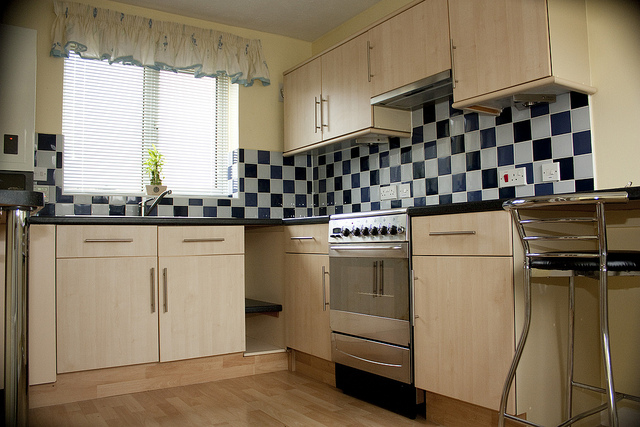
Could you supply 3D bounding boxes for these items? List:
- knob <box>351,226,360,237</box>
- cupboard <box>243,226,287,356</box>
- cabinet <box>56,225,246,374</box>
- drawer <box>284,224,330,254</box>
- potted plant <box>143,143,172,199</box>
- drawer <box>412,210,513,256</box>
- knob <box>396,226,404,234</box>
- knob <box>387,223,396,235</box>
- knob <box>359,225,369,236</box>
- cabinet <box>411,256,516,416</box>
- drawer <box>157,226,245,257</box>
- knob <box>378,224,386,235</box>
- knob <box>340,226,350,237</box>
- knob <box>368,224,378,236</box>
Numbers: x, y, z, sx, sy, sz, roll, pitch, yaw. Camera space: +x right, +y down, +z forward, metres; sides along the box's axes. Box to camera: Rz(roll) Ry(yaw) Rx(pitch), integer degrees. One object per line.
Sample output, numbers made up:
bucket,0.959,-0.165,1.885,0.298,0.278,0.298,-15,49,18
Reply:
knob,0.244,0.129,3.614,0.021,0.075,0.073,-3,2,-41
cupboard,-0.477,0.641,4.513,0.403,0.992,0.451,0,1,-20
cabinet,-1.417,0.662,4.117,1.403,0.995,0.761,3,-8,-36
drawer,-0.111,0.201,4.056,0.225,0.173,0.353,3,-4,-34
potted plant,-1.457,-0.386,4.598,0.257,0.517,0.362,-2,2,-15
drawer,0.843,0.125,3.086,0.398,0.176,0.290,-6,-9,43
knob,0.511,0.107,3.343,0.041,0.041,0.014,13,10,12
knob,0.462,0.106,3.387,0.026,0.066,0.070,-3,2,-32
knob,0.299,0.123,3.557,0.018,0.065,0.086,-3,2,-38
cabinet,0.830,0.674,3.096,0.448,0.821,0.551,-3,3,-33
drawer,-0.916,0.205,3.959,0.384,0.126,0.280,2,-4,-33
knob,0.406,0.114,3.434,0.046,0.082,0.060,0,1,-7
knob,0.171,0.135,3.674,0.041,0.055,0.027,-3,-1,21
knob,0.344,0.119,3.487,0.043,0.061,0.022,-2,3,26
